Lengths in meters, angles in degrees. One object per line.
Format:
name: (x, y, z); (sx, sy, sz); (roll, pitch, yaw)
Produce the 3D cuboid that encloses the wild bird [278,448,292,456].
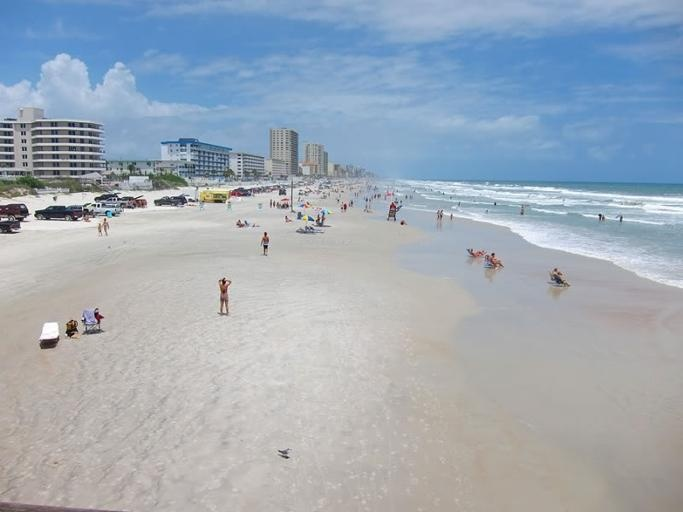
wild bird: (-1.473, 5.083, 13.593); (0.331, 0.110, 0.274); (-3, 11, -10)
